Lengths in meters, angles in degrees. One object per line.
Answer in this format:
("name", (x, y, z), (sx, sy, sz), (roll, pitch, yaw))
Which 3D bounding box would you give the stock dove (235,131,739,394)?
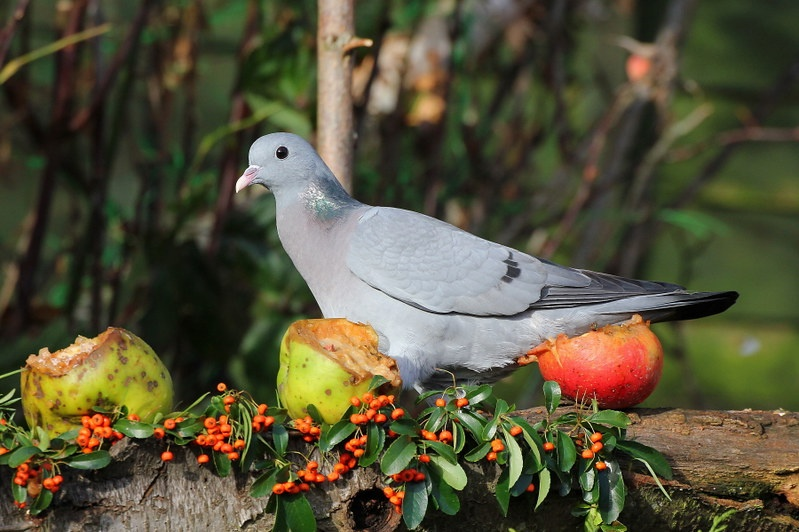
("stock dove", (0.242, 0.023, 3.794), (1.534, 0.836, 0.445), (0, 3, -6))

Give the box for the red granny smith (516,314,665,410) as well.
("red granny smith", (0.592, 0.261, 3.554), (0.452, 0.248, 0.404), (-1, 6, -9))

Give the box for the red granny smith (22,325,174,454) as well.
("red granny smith", (-0.869, 0.406, 3.421), (0.368, 0.325, 0.325), (-19, -6, -20))
